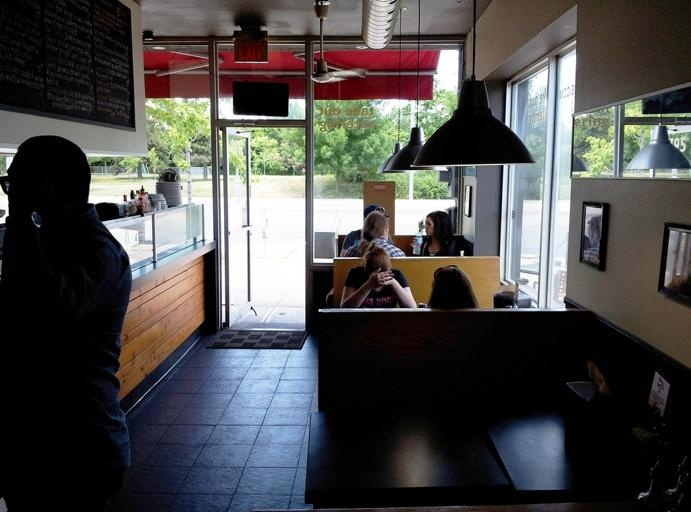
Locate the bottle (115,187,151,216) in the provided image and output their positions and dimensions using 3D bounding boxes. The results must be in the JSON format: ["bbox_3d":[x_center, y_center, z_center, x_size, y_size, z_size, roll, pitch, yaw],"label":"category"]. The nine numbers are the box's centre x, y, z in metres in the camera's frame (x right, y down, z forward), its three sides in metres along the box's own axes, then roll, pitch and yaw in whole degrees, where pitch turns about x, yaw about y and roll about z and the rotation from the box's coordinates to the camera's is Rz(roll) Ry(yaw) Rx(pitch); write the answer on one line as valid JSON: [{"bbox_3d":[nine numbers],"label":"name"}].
[{"bbox_3d":[-1.887,-0.472,4.510,0.251,0.247,0.255,1,5,34],"label":"bottle"}]

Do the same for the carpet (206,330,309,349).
[{"bbox_3d":[-1.018,0.969,6.003,1.095,0.023,0.682,0,11,5],"label":"carpet"}]

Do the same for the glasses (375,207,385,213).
[{"bbox_3d":[0.337,-0.468,5.166,0.119,0.049,0.132,5,10,32],"label":"glasses"}]

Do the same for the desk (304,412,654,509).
[{"bbox_3d":[0.498,0.847,2.164,1.363,0.200,0.586,-1,11,3],"label":"desk"}]

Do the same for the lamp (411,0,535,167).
[{"bbox_3d":[0.570,-0.620,2.324,0.512,0.400,0.231,0,11,8],"label":"lamp"}]

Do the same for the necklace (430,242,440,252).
[{"bbox_3d":[0.945,-0.097,5.430,0.076,0.112,0.026,0,-13,20],"label":"necklace"}]

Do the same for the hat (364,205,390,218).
[{"bbox_3d":[0.330,-0.495,5.486,0.235,0.245,0.171,-2,10,-3],"label":"hat"}]

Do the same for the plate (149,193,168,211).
[{"bbox_3d":[-1.799,-0.505,4.915,0.157,0.138,0.140,0,10,-1],"label":"plate"}]

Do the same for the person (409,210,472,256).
[{"bbox_3d":[1.103,-0.235,5.634,0.472,0.556,0.788,5,13,32],"label":"person"}]

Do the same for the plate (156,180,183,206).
[{"bbox_3d":[-1.819,-0.646,5.325,0.233,0.249,0.247,1,8,-2],"label":"plate"}]
